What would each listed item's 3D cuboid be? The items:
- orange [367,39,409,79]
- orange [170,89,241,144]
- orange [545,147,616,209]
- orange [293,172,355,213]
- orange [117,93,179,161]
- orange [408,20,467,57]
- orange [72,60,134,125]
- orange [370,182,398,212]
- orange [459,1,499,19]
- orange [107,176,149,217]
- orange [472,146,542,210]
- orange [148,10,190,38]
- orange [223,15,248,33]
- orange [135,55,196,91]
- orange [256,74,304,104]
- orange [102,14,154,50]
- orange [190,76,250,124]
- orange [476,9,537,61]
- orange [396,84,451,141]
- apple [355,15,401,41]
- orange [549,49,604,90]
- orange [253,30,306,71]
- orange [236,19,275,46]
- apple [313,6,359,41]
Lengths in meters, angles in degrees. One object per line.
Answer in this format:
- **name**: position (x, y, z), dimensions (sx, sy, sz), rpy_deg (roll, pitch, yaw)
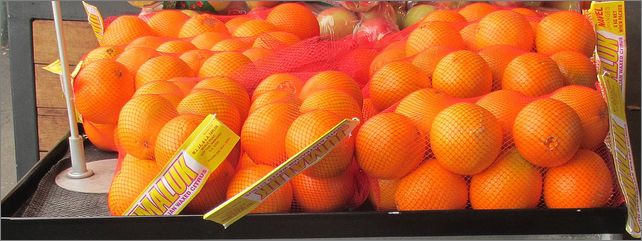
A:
- **orange**: position (0.346, -0.336, 2.533), dimensions (0.209, 0.119, 0.159), rpy_deg (-42, 12, 23)
- **orange**: position (-0.513, -0.034, 2.278), dimensions (0.275, 0.133, 0.207), rpy_deg (21, 20, 2)
- **orange**: position (1.152, 0.263, 2.358), dimensions (0.381, 0.248, 0.277), rpy_deg (-10, 2, -3)
- **orange**: position (0.009, 0.319, 2.245), dimensions (0.226, 0.134, 0.214), rpy_deg (0, -3, -11)
- **orange**: position (-0.832, 0.026, 2.264), dimensions (0.356, 0.315, 0.303), rpy_deg (3, 3, 6)
- **orange**: position (0.587, -0.417, 2.467), dimensions (0.275, 0.197, 0.206), rpy_deg (-5, 30, 17)
- **orange**: position (-1.077, -0.138, 2.415), dimensions (0.284, 0.309, 0.099), rpy_deg (1, 13, 5)
- **orange**: position (0.292, 0.345, 2.270), dimensions (0.159, 0.150, 0.141), rpy_deg (0, 6, 6)
- **orange**: position (0.868, -0.598, 2.694), dimensions (0.173, 0.087, 0.114), rpy_deg (-12, 32, 12)
- **orange**: position (-0.911, 0.348, 2.254), dimensions (0.197, 0.183, 0.093), rpy_deg (2, 13, 11)
- **orange**: position (0.802, 0.307, 2.348), dimensions (0.393, 0.289, 0.254), rpy_deg (8, 55, 1)
- **orange**: position (-0.865, -0.528, 2.718), dimensions (0.216, 0.123, 0.141), rpy_deg (-3, 4, 2)
- **orange**: position (-0.493, -0.541, 2.771), dimensions (0.131, 0.065, 0.114), rpy_deg (-7, 10, 1)
- **orange**: position (-0.791, -0.251, 2.474), dimensions (0.229, 0.153, 0.114), rpy_deg (-1, -3, 10)
- **orange**: position (-0.208, -0.157, 2.422), dimensions (0.202, 0.141, 0.142), rpy_deg (-5, 24, 6)
- **orange**: position (-1.067, -0.482, 2.730), dimensions (0.234, 0.159, 0.121), rpy_deg (-24, -3, 6)
- **orange**: position (-0.490, -0.088, 2.377), dimensions (0.221, 0.129, 0.247), rpy_deg (-6, 38, -48)
- **orange**: position (0.902, -0.439, 2.539), dimensions (0.309, 0.227, 0.217), rpy_deg (9, 49, -2)
- **orange**: position (0.439, -0.037, 2.386), dimensions (0.306, 0.208, 0.222), rpy_deg (-8, -15, -3)
- **apple**: position (0.317, -0.540, 2.960), dimensions (0.188, 0.109, 0.212), rpy_deg (-4, 4, -8)
- **orange**: position (1.243, -0.250, 2.451), dimensions (0.259, 0.190, 0.192), rpy_deg (14, 43, 16)
- **orange**: position (-0.248, -0.377, 2.545), dimensions (0.315, 0.147, 0.214), rpy_deg (-4, 8, -8)
- **orange**: position (-0.373, -0.473, 2.669), dimensions (0.191, 0.084, 0.150), rpy_deg (-1, 10, 20)
- **apple**: position (0.096, -0.602, 3.006), dimensions (0.346, 0.238, 0.248), rpy_deg (3, 27, 7)
